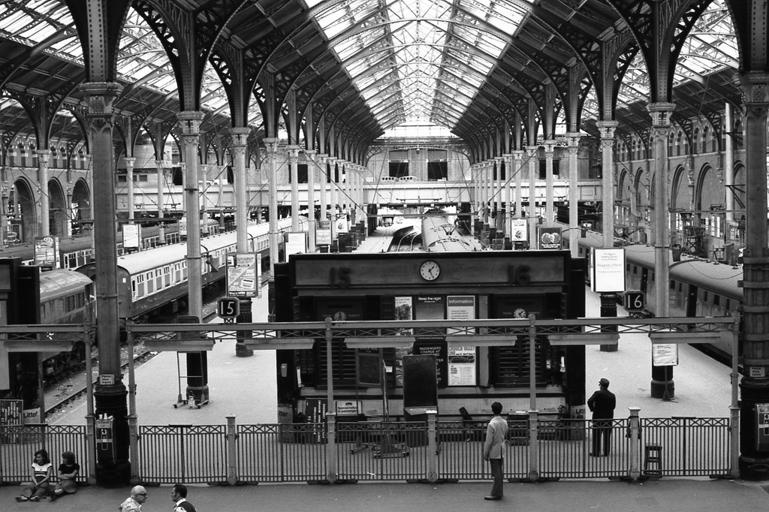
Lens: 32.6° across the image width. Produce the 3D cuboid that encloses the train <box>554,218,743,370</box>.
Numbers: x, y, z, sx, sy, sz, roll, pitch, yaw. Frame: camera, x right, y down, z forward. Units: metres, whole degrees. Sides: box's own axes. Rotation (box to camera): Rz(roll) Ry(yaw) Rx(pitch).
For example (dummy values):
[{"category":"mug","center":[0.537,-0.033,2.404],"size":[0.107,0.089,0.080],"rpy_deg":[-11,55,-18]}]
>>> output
[{"category":"train","center":[14.534,1.716,63.329],"size":[2.644,4.630,21.375],"rpy_deg":[0,6,1]}]

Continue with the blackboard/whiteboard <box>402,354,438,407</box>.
[{"category":"blackboard/whiteboard","center":[1.309,4.451,46.858],"size":[1.653,2.562,0.255],"rpy_deg":[0,4,2]}]

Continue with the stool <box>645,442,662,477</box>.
[{"category":"stool","center":[9.252,6.976,45.092],"size":[0.650,1.060,0.751],"rpy_deg":[-2,0,8]}]

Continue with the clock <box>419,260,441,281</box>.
[{"category":"clock","center":[1.740,0.587,48.736],"size":[0.663,0.747,0.706],"rpy_deg":[-1,5,0]}]

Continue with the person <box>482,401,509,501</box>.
[{"category":"person","center":[3.799,6.484,44.105],"size":[1.048,2.884,0.809],"rpy_deg":[-3,3,-1]}]

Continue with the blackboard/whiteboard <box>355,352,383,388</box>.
[{"category":"blackboard/whiteboard","center":[-0.521,4.130,47.074],"size":[0.977,1.659,1.103],"rpy_deg":[0,3,2]}]

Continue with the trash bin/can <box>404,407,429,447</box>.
[{"category":"trash bin/can","center":[1.160,6.256,46.449],"size":[0.810,1.594,2.029],"rpy_deg":[-1,9,0]}]
